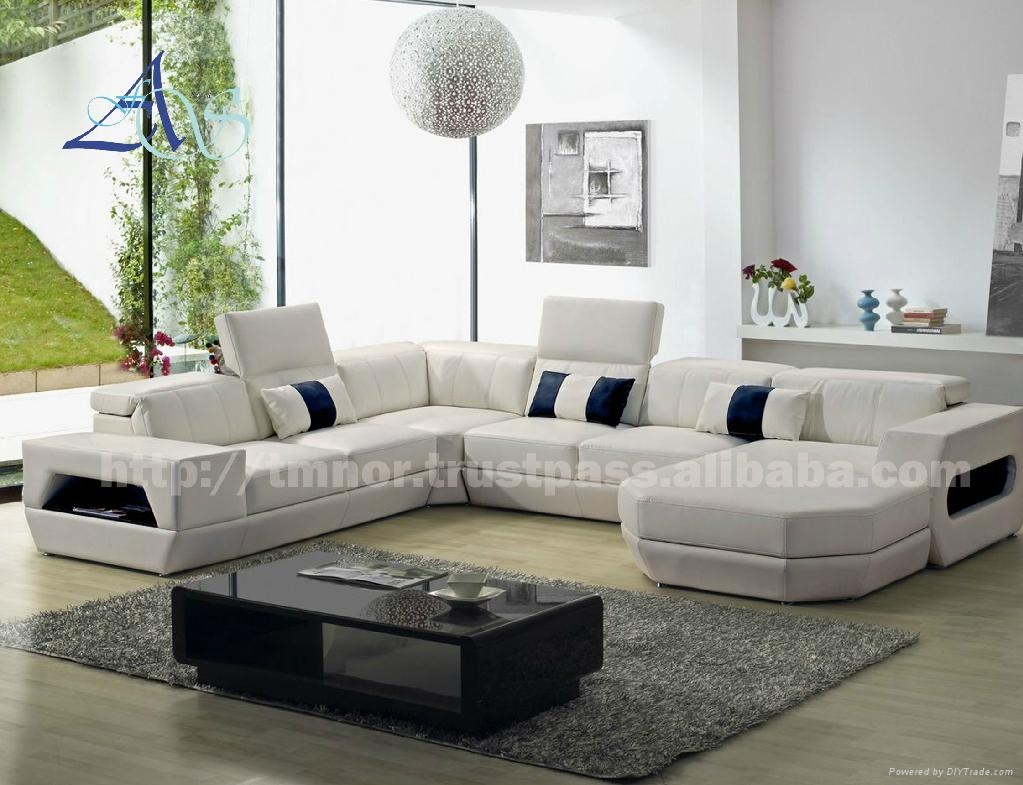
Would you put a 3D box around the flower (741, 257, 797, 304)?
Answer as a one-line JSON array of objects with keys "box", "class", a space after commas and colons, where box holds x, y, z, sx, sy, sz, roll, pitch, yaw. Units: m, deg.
[{"box": [1.956, -0.840, 6.837, 0.327, 0.208, 0.331, 3, -8, 37], "class": "flower"}]

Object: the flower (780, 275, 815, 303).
[{"box": [2.175, -0.781, 6.820, 0.246, 0.242, 0.130, 8, -16, 41], "class": "flower"}]

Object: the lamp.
[{"box": [-0.327, -1.922, 5.460, 0.856, 0.712, 0.528, 5, 13, 5], "class": "lamp"}]

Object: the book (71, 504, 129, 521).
[{"box": [-2.063, 0.608, 4.552, 0.219, 0.035, 0.116, 2, 3, 8], "class": "book"}]

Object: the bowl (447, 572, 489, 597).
[{"box": [-0.169, 0.687, 3.235, 0.092, 0.036, 0.087, -2, 6, 0], "class": "bowl"}]

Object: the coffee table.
[{"box": [-0.444, 0.862, 3.280, 1.441, 0.369, 0.631, 2, 8, 23], "class": "coffee table"}]
